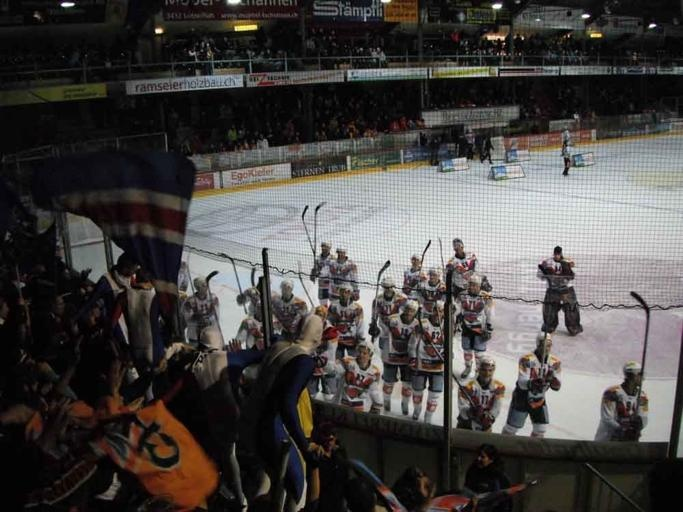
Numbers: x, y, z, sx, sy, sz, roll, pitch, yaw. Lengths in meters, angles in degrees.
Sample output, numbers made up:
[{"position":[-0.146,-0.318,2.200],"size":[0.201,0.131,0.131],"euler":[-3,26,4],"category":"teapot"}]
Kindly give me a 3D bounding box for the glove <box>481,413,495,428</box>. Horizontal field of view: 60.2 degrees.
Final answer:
[{"position":[1.802,2.050,7.277],"size":[0.118,0.180,0.166],"euler":[0,-20,1],"category":"glove"}]

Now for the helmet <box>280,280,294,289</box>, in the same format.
[{"position":[-0.860,0.439,9.226],"size":[0.111,0.153,0.152],"euler":[3,13,14],"category":"helmet"}]

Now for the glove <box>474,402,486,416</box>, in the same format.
[{"position":[1.714,1.918,7.292],"size":[0.105,0.166,0.055],"euler":[1,9,11],"category":"glove"}]

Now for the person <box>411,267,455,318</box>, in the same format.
[{"position":[1.313,0.756,8.676],"size":[0.452,1.140,0.307],"euler":[5,13,10],"category":"person"}]

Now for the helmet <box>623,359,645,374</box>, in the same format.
[{"position":[3.321,1.298,6.707],"size":[0.167,0.118,0.201],"euler":[1,6,33],"category":"helmet"}]

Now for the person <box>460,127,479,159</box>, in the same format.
[{"position":[5.602,-5.030,26.212],"size":[0.536,1.436,0.970],"euler":[2,6,43],"category":"person"}]

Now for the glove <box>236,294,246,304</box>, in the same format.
[{"position":[-1.588,0.690,9.342],"size":[0.114,0.170,0.168],"euler":[12,-15,9],"category":"glove"}]

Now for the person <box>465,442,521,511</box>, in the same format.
[{"position":[1.520,2.266,5.952],"size":[0.523,1.104,0.328],"euler":[-5,-13,27],"category":"person"}]

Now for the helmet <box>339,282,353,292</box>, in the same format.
[{"position":[0.075,0.462,8.969],"size":[0.136,0.098,0.150],"euler":[2,2,6],"category":"helmet"}]

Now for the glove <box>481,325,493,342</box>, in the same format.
[{"position":[2.234,1.193,9.074],"size":[0.161,0.255,0.086],"euler":[10,-1,-3],"category":"glove"}]

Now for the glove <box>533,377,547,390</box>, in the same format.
[{"position":[2.428,1.571,7.243],"size":[0.120,0.140,0.043],"euler":[6,-6,5],"category":"glove"}]

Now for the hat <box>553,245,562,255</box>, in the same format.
[{"position":[3.915,-0.104,10.672],"size":[0.104,0.203,0.134],"euler":[8,14,36],"category":"hat"}]

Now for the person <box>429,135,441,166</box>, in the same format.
[{"position":[4.116,-4.654,25.718],"size":[0.469,1.429,2.071],"euler":[-1,5,9],"category":"person"}]

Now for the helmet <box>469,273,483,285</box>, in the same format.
[{"position":[2.064,0.353,9.109],"size":[0.190,0.226,0.205],"euler":[3,6,30],"category":"helmet"}]

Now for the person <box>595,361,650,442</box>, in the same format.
[{"position":[3.205,1.695,6.735],"size":[0.559,0.903,0.362],"euler":[-1,5,16],"category":"person"}]

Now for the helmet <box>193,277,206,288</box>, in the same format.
[{"position":[-2.223,0.406,9.253],"size":[0.168,0.191,0.135],"euler":[-18,5,27],"category":"helmet"}]

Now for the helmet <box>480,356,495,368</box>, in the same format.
[{"position":[1.835,1.341,7.413],"size":[0.142,0.155,0.127],"euler":[-21,42,-10],"category":"helmet"}]

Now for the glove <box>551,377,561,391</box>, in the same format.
[{"position":[2.656,1.602,7.368],"size":[0.143,0.222,0.067],"euler":[0,3,-4],"category":"glove"}]

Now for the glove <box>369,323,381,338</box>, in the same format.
[{"position":[0.529,1.196,9.422],"size":[0.180,0.226,0.194],"euler":[6,29,17],"category":"glove"}]

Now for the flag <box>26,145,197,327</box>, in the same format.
[{"position":[-1.522,-0.230,4.036],"size":[0.518,1.246,0.824],"euler":[-3,12,8],"category":"flag"}]

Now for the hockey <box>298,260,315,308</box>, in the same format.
[{"position":[-0.622,0.539,10.548],"size":[0.046,0.184,1.130],"euler":[0,45,-30],"category":"hockey"}]

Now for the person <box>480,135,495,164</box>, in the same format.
[{"position":[6.370,-4.694,25.766],"size":[0.581,1.291,0.959],"euler":[-1,5,14],"category":"person"}]
